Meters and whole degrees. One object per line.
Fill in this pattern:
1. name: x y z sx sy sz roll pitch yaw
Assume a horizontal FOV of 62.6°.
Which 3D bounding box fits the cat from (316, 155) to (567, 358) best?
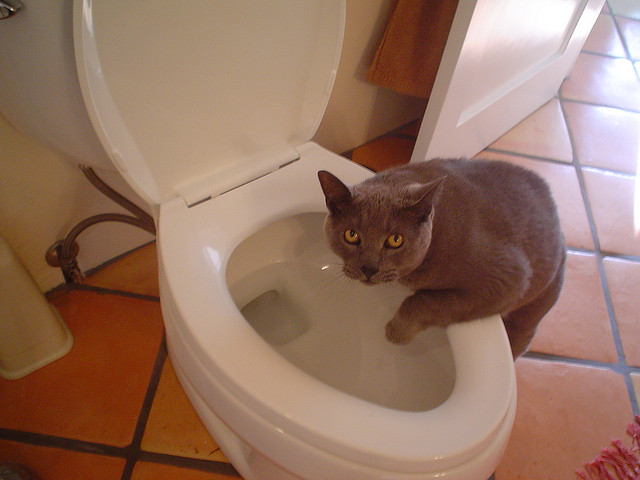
1. cat: 0.328 0.032 1.278 0.623 0.514 0.356 -15 25 -33
